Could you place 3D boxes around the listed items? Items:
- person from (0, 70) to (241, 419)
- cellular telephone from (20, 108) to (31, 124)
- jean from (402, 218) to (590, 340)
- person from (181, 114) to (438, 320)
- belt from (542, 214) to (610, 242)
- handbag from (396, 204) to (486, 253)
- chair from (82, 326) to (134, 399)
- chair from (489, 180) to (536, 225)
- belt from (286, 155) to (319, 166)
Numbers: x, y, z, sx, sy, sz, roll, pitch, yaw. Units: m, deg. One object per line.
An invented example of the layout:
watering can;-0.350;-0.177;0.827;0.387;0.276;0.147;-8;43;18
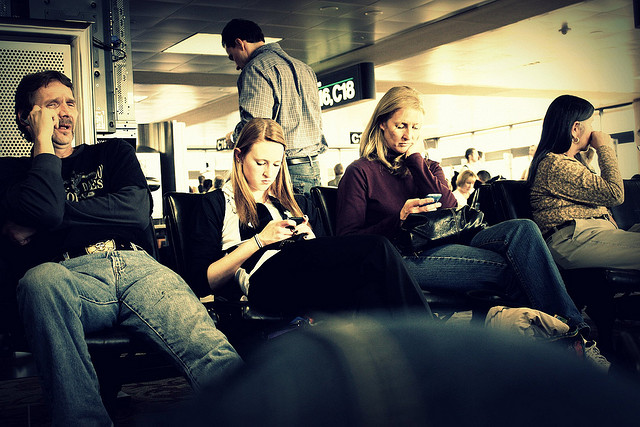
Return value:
person;-0.931;0.037;2.028;0.777;1.400;1.027;-4;0;-28
cellular telephone;-1.415;-0.463;2.311;0.075;0.068;0.023;-4;0;41
jean;0.789;0.254;2.420;0.514;0.268;0.813;1;10;-44
person;0.026;0.047;2.162;1.236;0.799;0.604;4;8;35
belt;1.545;0.066;2.920;0.253;0.216;0.073;-6;-18;29
handbag;0.660;0.006;2.477;0.442;0.146;0.221;-13;47;-14
chair;-0.829;0.585;1.908;0.167;0.288;0.247;-4;0;-25
chair;1.220;-0.099;3.262;0.336;0.345;0.356;-7;0;8
belt;-0.100;-0.359;3.245;0.093;0.073;0.335;-3;0;33
